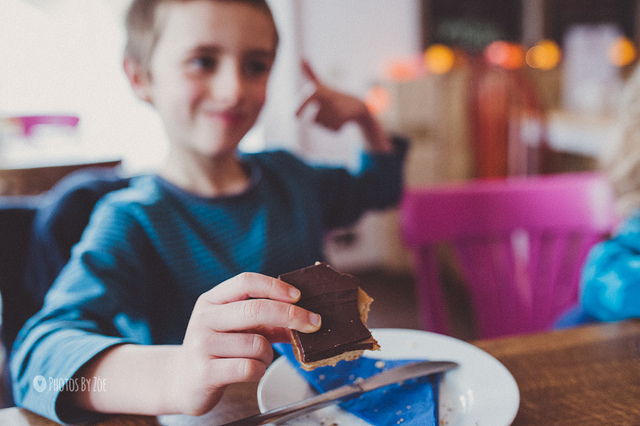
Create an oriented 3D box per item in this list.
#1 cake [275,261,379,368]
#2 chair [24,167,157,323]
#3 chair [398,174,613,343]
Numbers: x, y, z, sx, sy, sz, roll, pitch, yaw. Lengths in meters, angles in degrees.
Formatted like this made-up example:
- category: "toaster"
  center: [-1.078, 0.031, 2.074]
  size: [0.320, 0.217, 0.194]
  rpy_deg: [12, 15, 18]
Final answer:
- category: "cake"
  center: [-0.004, 0.205, 1.459]
  size: [0.234, 0.064, 0.242]
  rpy_deg: [19, 50, -5]
- category: "chair"
  center: [-0.597, 0.055, 1.714]
  size: [0.323, 0.343, 0.255]
  rpy_deg: [7, -6, -42]
- category: "chair"
  center: [0.479, 0.093, 2.147]
  size: [0.472, 0.729, 0.513]
  rpy_deg: [-3, 0, -6]
